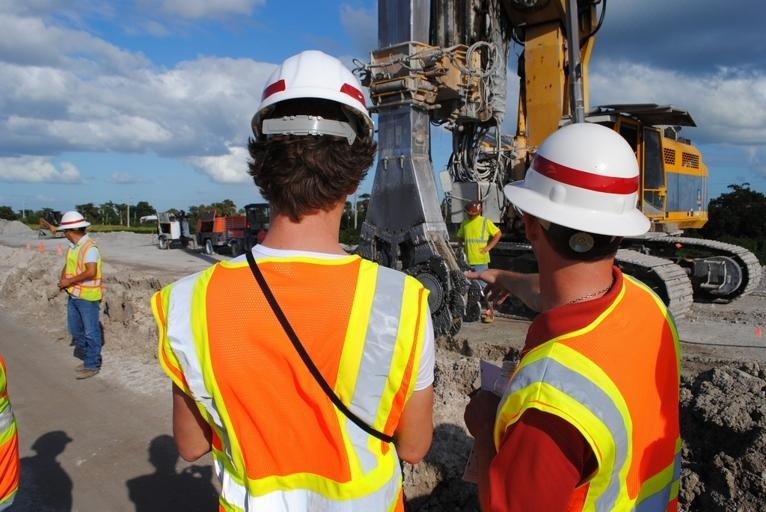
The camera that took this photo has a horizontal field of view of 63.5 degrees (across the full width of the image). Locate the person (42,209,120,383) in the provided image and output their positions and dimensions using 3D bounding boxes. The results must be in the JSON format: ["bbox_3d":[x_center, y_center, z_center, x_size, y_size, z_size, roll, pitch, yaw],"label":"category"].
[{"bbox_3d":[-4.204,0.540,8.660,0.544,2.261,0.656,-10,13,-34],"label":"person"}]

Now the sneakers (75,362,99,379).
[{"bbox_3d":[-4.139,1.623,8.701,0.122,0.184,0.411,5,-12,5],"label":"sneakers"}]

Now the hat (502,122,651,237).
[{"bbox_3d":[1.270,-0.380,4.003,0.720,0.462,0.708,2,25,-17],"label":"hat"}]

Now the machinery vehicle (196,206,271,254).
[{"bbox_3d":[-6.001,-1.075,25.506,4.147,1.972,1.462,-1,3,37],"label":"machinery vehicle"}]

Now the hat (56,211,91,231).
[{"bbox_3d":[-4.305,-0.490,8.580,0.373,0.292,0.356,-10,15,-26],"label":"hat"}]
